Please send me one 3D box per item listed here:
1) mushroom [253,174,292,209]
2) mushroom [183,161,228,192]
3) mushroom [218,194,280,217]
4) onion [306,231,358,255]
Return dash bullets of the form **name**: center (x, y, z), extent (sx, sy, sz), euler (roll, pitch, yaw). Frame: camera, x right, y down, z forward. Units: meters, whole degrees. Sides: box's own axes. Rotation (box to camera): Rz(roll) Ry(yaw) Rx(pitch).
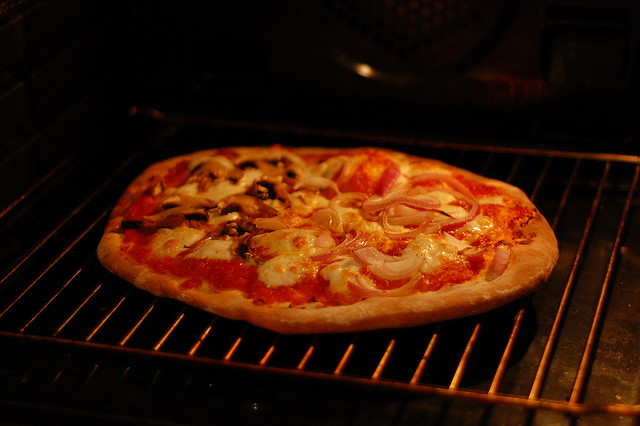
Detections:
- **mushroom**: center (-0.210, -0.082, 2.091), extent (0.040, 0.067, 0.016), euler (-29, 20, -5)
- **mushroom**: center (-0.462, -0.133, 2.179), extent (0.154, 0.030, 0.112), euler (-33, 55, -18)
- **mushroom**: center (-0.256, -0.027, 2.015), extent (0.186, 0.042, 0.097), euler (8, 30, 0)
- **onion**: center (0.052, 0.109, 1.795), extent (0.182, 0.016, 0.053), euler (-30, 44, -26)
